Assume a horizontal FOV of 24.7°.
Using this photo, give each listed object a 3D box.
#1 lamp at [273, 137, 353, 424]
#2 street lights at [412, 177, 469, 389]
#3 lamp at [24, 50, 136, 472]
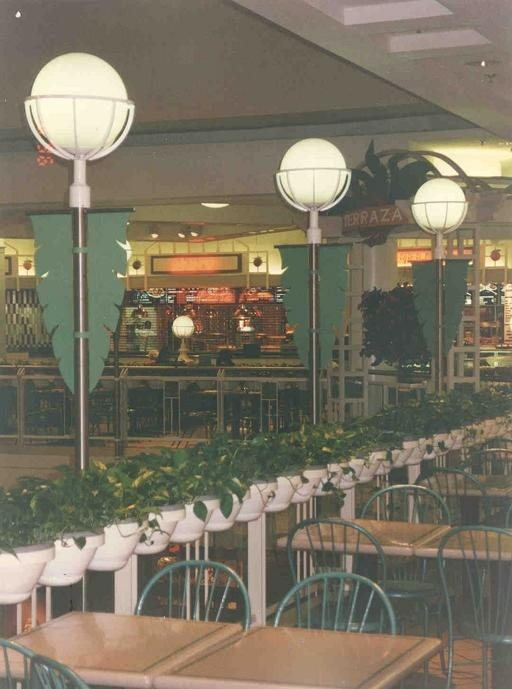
[{"bbox_3d":[0.267,-0.270,5.050,0.322,1.208,0.286,-3,-3,10],"label":"lamp"},{"bbox_3d":[1.067,-0.335,6.616,0.308,1.193,0.628,-4,-3,10],"label":"street lights"},{"bbox_3d":[-0.535,-0.282,3.662,0.333,1.326,0.272,-2,-3,-17],"label":"lamp"}]
